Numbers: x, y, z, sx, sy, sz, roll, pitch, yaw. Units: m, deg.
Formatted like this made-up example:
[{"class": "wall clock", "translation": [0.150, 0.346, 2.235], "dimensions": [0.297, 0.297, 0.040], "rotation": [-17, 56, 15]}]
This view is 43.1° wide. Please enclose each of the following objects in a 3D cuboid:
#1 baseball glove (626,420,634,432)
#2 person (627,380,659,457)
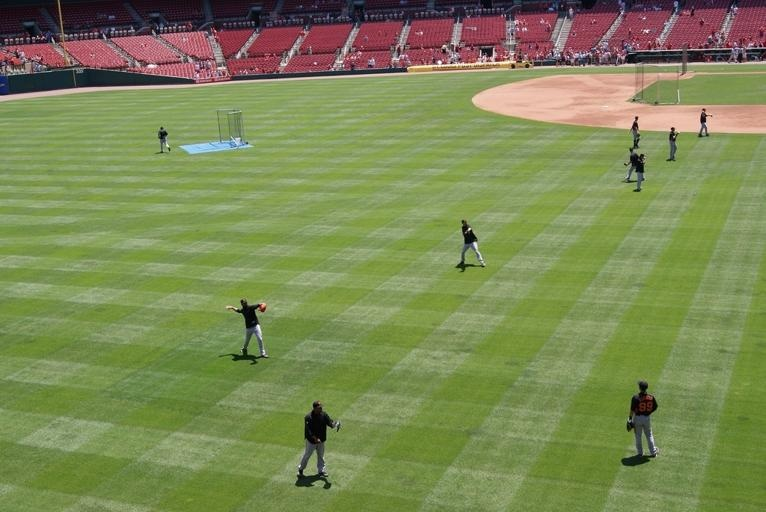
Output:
[{"class": "baseball glove", "translation": [7.882, 5.383, 30.696], "dimensions": [0.210, 0.525, 0.402], "rotation": [0, 27, 13]}, {"class": "person", "translation": [8.323, 5.112, 30.828], "dimensions": [0.944, 2.622, 1.084], "rotation": [0, 29, 13]}]
